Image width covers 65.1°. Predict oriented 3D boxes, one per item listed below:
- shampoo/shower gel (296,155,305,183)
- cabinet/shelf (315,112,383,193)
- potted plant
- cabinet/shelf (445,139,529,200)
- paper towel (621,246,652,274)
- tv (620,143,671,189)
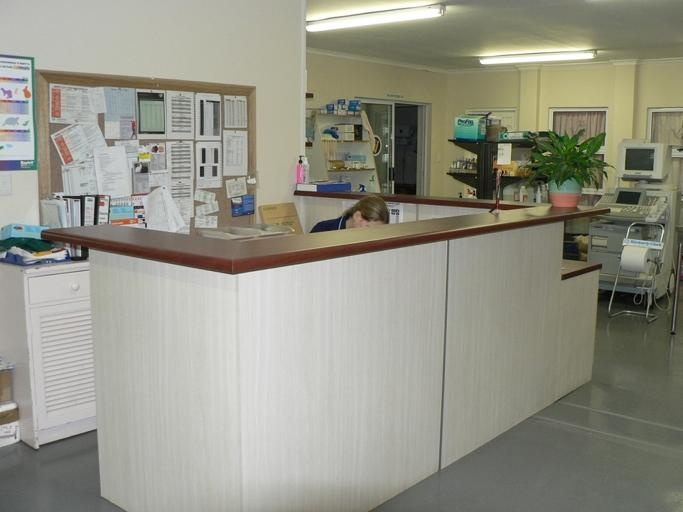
[{"bbox_3d":[-0.455,-0.939,5.835,0.080,0.295,0.072,7,13,30],"label":"shampoo/shower gel"},{"bbox_3d":[0.046,-1.683,8.563,0.595,1.275,1.347,8,14,35],"label":"cabinet/shelf"},{"bbox_3d":[1.885,-0.721,4.376,0.594,0.618,0.522,-3,12,-17],"label":"potted plant"},{"bbox_3d":[2.413,-1.342,8.790,1.323,1.065,0.418,5,16,23],"label":"cabinet/shelf"},{"bbox_3d":[3.442,0.019,6.312,0.391,0.317,0.313,3,3,39],"label":"paper towel"},{"bbox_3d":[4.100,-1.259,7.109,0.390,0.596,0.656,-10,14,-23],"label":"tv"}]
